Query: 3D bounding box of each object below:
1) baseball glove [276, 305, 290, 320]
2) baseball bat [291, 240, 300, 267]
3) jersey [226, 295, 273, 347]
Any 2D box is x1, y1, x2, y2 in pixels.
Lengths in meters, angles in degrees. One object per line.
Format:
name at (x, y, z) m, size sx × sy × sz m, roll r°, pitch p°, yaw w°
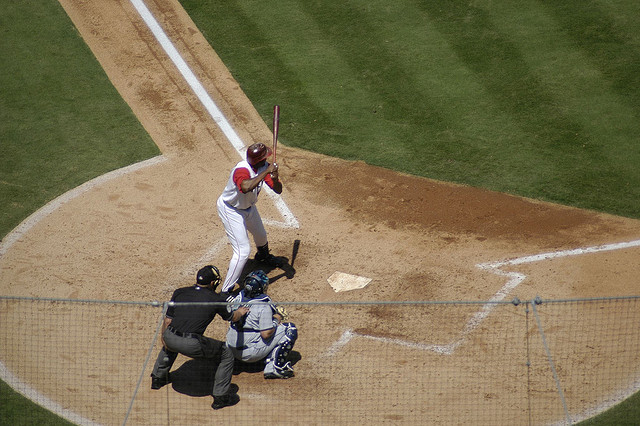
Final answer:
baseball glove at (-0.821, 2.097, 25.044) m, size 0.191 × 0.135 × 0.378 m, roll -20°, pitch 89°, yaw -3°
baseball bat at (-0.587, 0.951, 26.934) m, size 0.113 × 0.079 × 0.641 m, roll 4°, pitch 30°, yaw 13°
jersey at (-1.474, 2.308, 24.731) m, size 0.861 × 0.730 × 0.894 m, roll 0°, pitch 88°, yaw -12°
